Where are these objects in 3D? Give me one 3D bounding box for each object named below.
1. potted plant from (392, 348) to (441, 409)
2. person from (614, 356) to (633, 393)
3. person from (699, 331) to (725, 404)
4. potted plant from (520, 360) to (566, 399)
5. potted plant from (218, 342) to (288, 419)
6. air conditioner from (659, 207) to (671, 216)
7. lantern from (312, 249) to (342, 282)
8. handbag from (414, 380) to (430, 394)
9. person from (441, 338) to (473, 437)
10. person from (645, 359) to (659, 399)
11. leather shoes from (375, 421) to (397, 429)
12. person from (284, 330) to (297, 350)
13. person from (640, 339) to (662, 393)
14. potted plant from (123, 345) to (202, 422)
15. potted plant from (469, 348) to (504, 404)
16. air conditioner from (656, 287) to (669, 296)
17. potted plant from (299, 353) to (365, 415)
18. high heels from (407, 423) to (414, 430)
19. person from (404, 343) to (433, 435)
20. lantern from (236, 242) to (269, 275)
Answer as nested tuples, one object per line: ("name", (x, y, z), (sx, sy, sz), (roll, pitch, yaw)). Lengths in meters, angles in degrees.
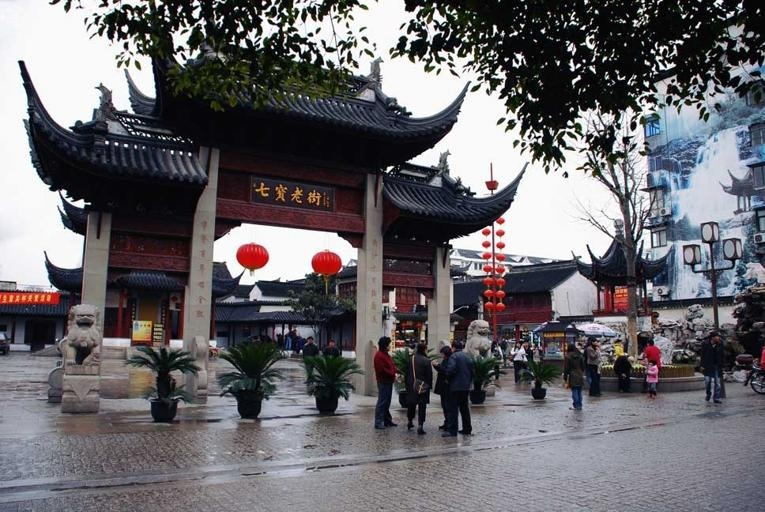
("potted plant", (0.910, 2.985, 14.536), (0.854, 1.794, 0.623), (1, -10, 31))
("person", (9.247, 4.495, 23.646), (0.628, 1.391, 0.572), (-3, -9, 19))
("person", (10.918, 3.665, 20.408), (0.629, 2.251, 1.609), (-4, -9, 26))
("potted plant", (5.284, 4.327, 21.029), (1.224, 1.008, 1.227), (2, -7, -24))
("potted plant", (-3.325, 3.176, 15.963), (1.699, 1.859, 1.749), (6, -2, 45))
("air conditioner", (21.718, -3.353, 47.139), (0.566, 0.492, 0.565), (0, -4, -5))
("lantern", (-1.843, 0.151, 20.542), (0.897, 0.741, 1.666), (2, -9, -8))
("handbag", (0.897, 3.025, 14.206), (0.326, 0.318, 0.077), (0, -8, 0))
("person", (1.727, 3.125, 14.129), (0.653, 1.870, 0.390), (1, -8, -8))
("person", (9.530, 4.292, 21.743), (0.335, 1.275, 0.748), (-3, -9, 20))
("leather shoes", (0.106, 4.011, 14.646), (0.680, 0.150, 0.273), (7, -11, -38))
("person", (-7.655, 7.125, 51.781), (0.929, 1.584, 1.897), (1, -9, -8))
("person", (9.878, 3.761, 22.441), (0.662, 1.565, 0.529), (-16, 17, 0))
("potted plant", (-5.188, 3.067, 14.786), (1.299, 1.735, 1.045), (3, -9, -17))
("potted plant", (3.012, 3.835, 19.256), (1.252, 1.411, 1.161), (8, -10, -36))
("air conditioner", (21.599, 2.742, 47.408), (0.318, 0.901, 1.101), (5, -10, -28))
("potted plant", (-1.386, 3.461, 16.746), (1.410, 1.323, 1.499), (10, -8, -42))
("high heels", (0.648, 4.038, 14.602), (0.184, 0.183, 0.112), (22, -29, -38))
("person", (0.865, 3.119, 14.824), (0.597, 2.044, 1.423), (0, -9, 2))
("lantern", (-3.739, 0.019, 17.661), (0.792, 0.840, 0.797), (-5, -15, 21))
